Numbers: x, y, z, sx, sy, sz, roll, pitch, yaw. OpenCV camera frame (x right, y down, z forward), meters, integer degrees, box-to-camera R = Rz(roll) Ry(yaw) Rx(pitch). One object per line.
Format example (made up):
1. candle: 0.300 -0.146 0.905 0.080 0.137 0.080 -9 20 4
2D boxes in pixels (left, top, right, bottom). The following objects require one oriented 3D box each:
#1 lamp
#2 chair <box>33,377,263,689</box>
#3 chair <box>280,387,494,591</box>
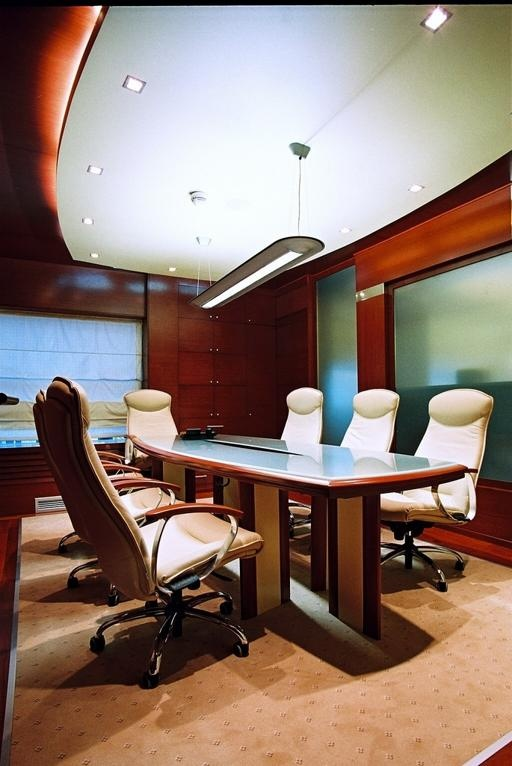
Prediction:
1. lamp: 0.011 -0.823 3.894 0.456 0.684 1.653 6 -19 -28
2. chair: -0.492 0.551 2.604 1.086 1.687 1.037 -3 1 -29
3. chair: 0.898 0.648 3.470 1.014 1.679 0.959 4 -6 -27
